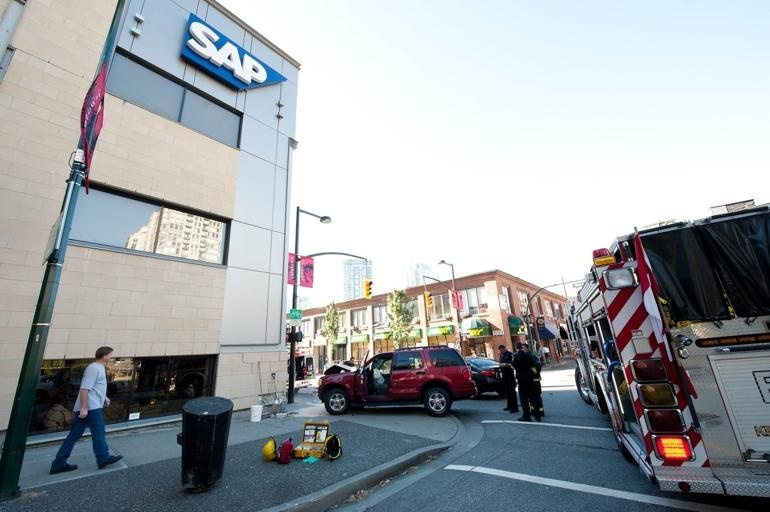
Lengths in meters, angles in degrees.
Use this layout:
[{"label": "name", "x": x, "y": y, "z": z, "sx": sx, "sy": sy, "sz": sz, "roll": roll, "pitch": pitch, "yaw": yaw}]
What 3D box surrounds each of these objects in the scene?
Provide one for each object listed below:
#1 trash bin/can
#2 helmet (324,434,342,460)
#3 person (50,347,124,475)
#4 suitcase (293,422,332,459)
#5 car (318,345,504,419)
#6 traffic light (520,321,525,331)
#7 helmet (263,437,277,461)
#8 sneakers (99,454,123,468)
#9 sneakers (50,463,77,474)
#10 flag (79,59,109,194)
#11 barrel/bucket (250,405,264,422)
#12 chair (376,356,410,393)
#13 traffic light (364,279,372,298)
[{"label": "trash bin/can", "x": -3.404, "y": 3.542, "z": 7.168, "sx": 0.893, "sy": 1.690, "sz": 0.472, "roll": 1, "pitch": -8, "yaw": -24}, {"label": "helmet", "x": -1.146, "y": 4.219, "z": 8.389, "sx": 0.347, "sy": 0.465, "sz": 0.273, "roll": -1, "pitch": -7, "yaw": -6}, {"label": "person", "x": -6.363, "y": 3.281, "z": 8.210, "sx": 0.890, "sy": 2.529, "sz": 0.791, "roll": -5, "pitch": -8, "yaw": 22}, {"label": "suitcase", "x": -1.582, "y": 4.219, "z": 8.802, "sx": 0.793, "sy": 0.669, "sz": 0.741, "roll": -3, "pitch": -17, "yaw": 13}, {"label": "car", "x": 0.471, "y": 4.171, "z": 13.253, "sx": 4.567, "sy": 1.706, "sz": 2.561, "roll": -4, "pitch": -19, "yaw": 16}, {"label": "traffic light", "x": 12.821, "y": 6.581, "z": 35.467, "sx": 0.299, "sy": 0.899, "sz": 1.981, "roll": -5, "pitch": -7, "yaw": 27}, {"label": "helmet", "x": -2.548, "y": 4.244, "z": 8.406, "sx": 0.284, "sy": 0.477, "sz": 0.301, "roll": 1, "pitch": -7, "yaw": -19}, {"label": "sneakers", "x": -5.949, "y": 4.433, "z": 8.182, "sx": 0.492, "sy": 0.185, "sz": 0.180, "roll": 0, "pitch": -1, "yaw": -44}, {"label": "sneakers", "x": -6.735, "y": 4.469, "z": 7.960, "sx": 0.510, "sy": 0.190, "sz": 0.174, "roll": 3, "pitch": -6, "yaw": -25}, {"label": "flag", "x": -6.375, "y": -2.832, "z": 8.250, "sx": 0.350, "sy": 2.777, "sz": 0.831, "roll": 4, "pitch": -9, "yaw": -39}, {"label": "barrel/bucket", "x": -4.181, "y": 5.059, "z": 12.311, "sx": 0.569, "sy": 0.485, "sz": 0.488, "roll": 0, "pitch": -13, "yaw": -6}, {"label": "chair", "x": 0.043, "y": 3.943, "z": 12.934, "sx": 1.422, "sy": 1.305, "sz": 0.992, "roll": 1, "pitch": -13, "yaw": 12}, {"label": "traffic light", "x": -1.009, "y": 1.881, "z": 22.475, "sx": 0.411, "sy": 1.012, "sz": 0.943, "roll": -1, "pitch": -7, "yaw": -4}]
